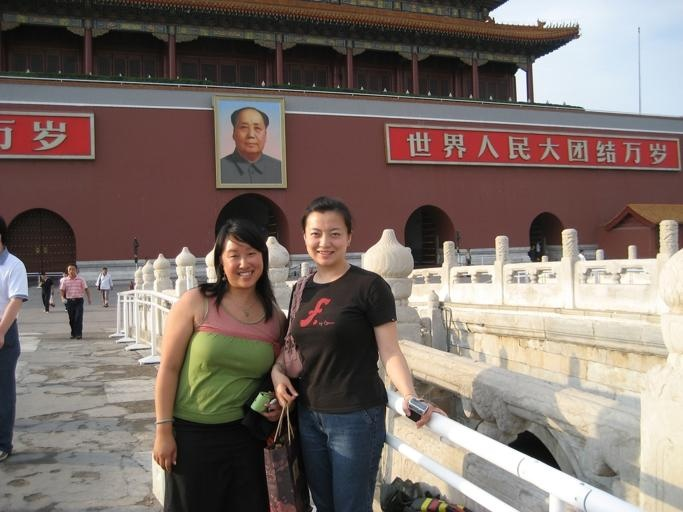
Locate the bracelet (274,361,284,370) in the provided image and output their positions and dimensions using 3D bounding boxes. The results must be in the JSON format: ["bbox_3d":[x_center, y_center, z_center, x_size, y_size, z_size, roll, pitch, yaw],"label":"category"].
[{"bbox_3d":[-0.301,0.533,3.208,0.035,0.073,0.062,-1,-1,10],"label":"bracelet"}]

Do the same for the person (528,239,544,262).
[{"bbox_3d":[6.579,-0.213,22.333,0.468,0.665,0.902,-1,2,8],"label":"person"}]

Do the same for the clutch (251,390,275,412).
[{"bbox_3d":[-0.369,0.696,3.179,0.107,0.119,0.071,15,12,-43],"label":"clutch"}]

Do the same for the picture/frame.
[{"bbox_3d":[-2.480,-3.082,17.305,2.180,3.070,0.198,-1,0,-17],"label":"picture/frame"}]

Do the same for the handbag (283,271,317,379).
[{"bbox_3d":[-0.166,0.341,3.186,0.097,0.409,0.246,2,-37,9],"label":"handbag"}]
